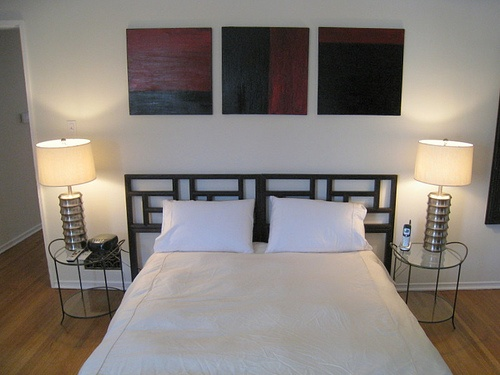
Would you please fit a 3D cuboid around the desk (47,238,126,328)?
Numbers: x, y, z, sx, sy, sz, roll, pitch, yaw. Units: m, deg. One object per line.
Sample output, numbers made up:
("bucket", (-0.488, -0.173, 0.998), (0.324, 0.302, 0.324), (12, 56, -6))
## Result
("desk", (-1.377, 0.929, 3.584), (0.518, 0.599, 0.517), (-2, -3, -13))
